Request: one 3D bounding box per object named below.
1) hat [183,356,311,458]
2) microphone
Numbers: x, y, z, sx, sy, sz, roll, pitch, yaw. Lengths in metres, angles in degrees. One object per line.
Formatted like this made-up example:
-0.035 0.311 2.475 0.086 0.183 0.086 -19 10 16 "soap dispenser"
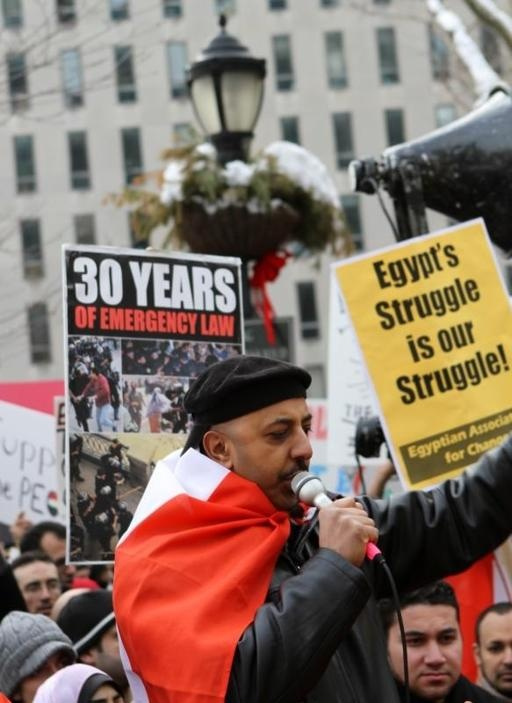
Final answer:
-0.028 0.132 3.824 0.436 0.238 0.372 -14 -6 26 "hat"
0.175 0.430 3.574 0.129 0.120 0.440 -2 30 -35 "microphone"
